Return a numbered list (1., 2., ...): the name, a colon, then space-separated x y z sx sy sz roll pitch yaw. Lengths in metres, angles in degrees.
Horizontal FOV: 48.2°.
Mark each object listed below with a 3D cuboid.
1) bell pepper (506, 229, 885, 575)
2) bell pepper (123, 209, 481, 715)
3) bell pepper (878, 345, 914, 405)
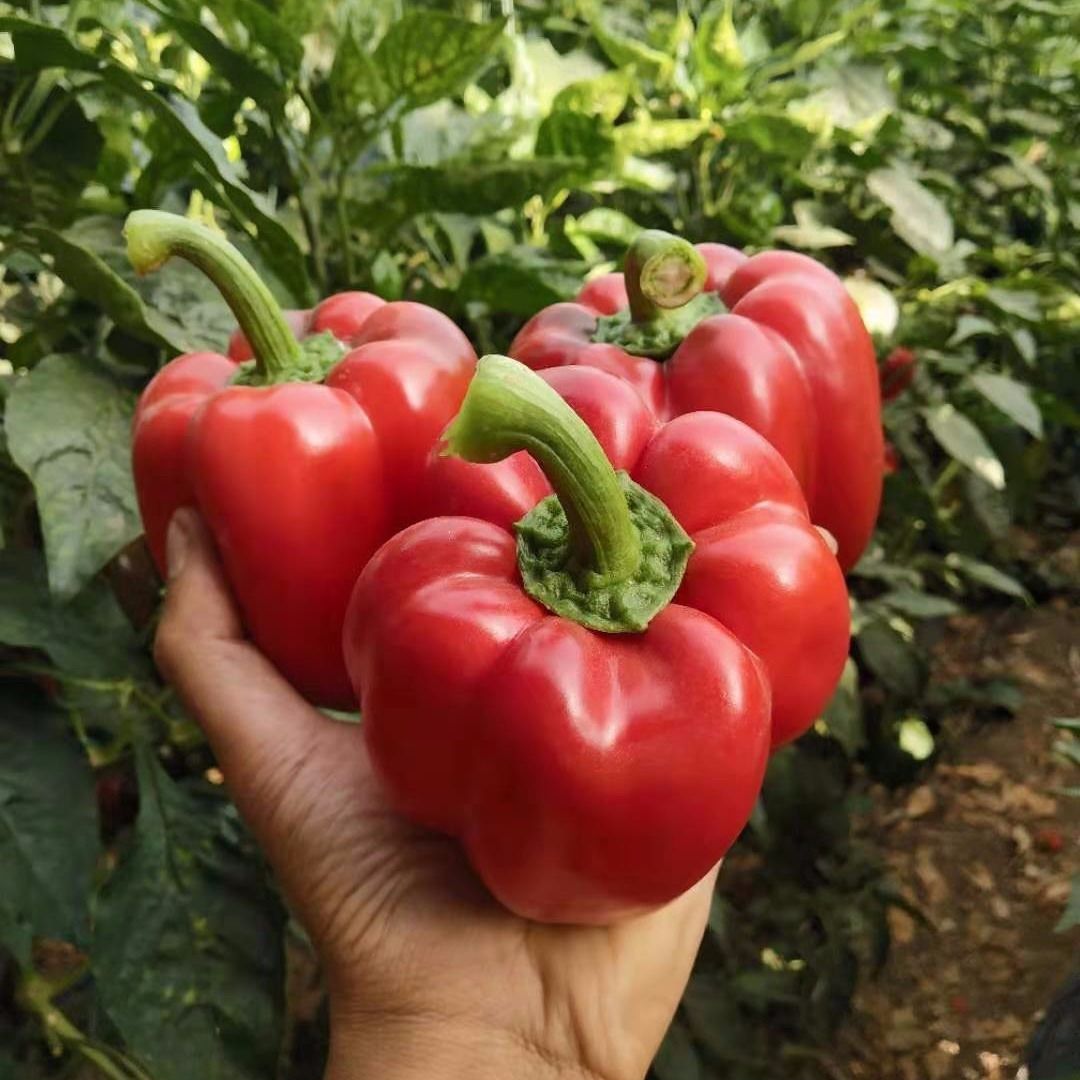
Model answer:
1. bell pepper: 0.216 -0.137 1.384 0.360 0.378 0.358 -12 8 18
2. bell pepper: -0.228 -0.087 1.277 0.410 0.514 0.351 -12 30 -13
3. bell pepper: 0.562 -0.256 1.872 0.069 0.077 0.037 3 22 -2
